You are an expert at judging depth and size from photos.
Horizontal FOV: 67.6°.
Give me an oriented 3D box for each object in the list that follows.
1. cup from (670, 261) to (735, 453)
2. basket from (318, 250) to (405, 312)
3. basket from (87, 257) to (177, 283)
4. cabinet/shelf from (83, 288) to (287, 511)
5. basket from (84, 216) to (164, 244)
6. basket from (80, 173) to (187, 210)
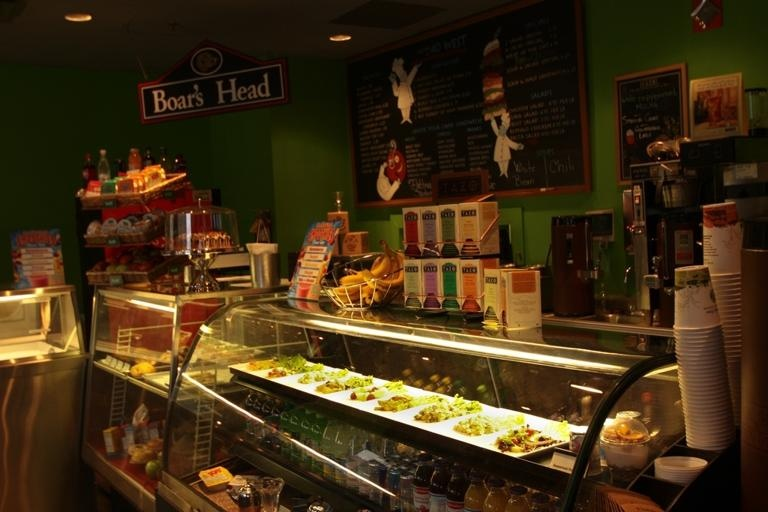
[{"bbox_3d":[0.893,0.285,1.603,0.152,0.511,0.109,-1,1,19],"label":"cup"},{"bbox_3d":[-0.089,0.069,2.743,0.307,0.150,0.323,-7,20,47],"label":"basket"},{"bbox_3d":[-1.603,0.099,3.643,0.627,0.152,0.224,-1,1,17],"label":"basket"},{"bbox_3d":[-1.005,0.736,2.981,0.758,1.273,1.413,-2,5,-39],"label":"cabinet/shelf"},{"bbox_3d":[-1.676,-0.162,3.679,0.606,0.159,0.167,-1,2,31],"label":"basket"},{"bbox_3d":[-1.648,-0.412,3.702,0.686,0.181,0.325,-1,1,17],"label":"basket"}]
